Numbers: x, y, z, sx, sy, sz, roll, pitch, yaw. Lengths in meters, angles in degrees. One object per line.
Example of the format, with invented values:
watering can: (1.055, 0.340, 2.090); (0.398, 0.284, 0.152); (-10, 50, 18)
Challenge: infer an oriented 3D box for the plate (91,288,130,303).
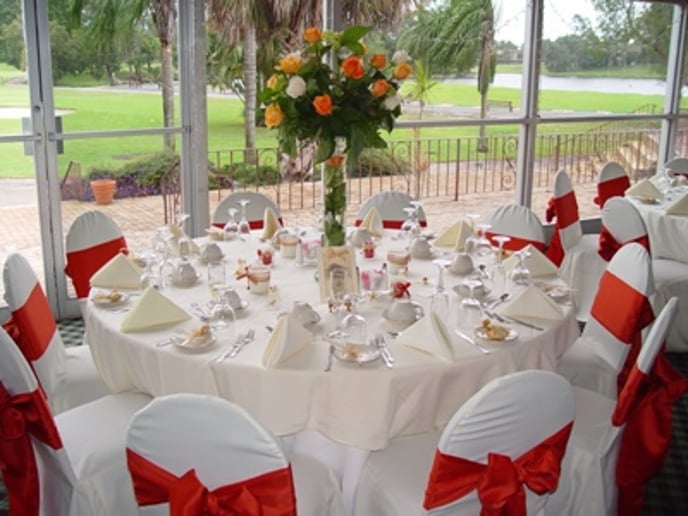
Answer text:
plate: (-1.200, 0.207, 2.461); (0.218, 0.055, 0.144); (4, 11, 26)

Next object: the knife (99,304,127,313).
knife: (-1.103, 0.269, 2.350); (0.042, 0.007, 0.128); (7, 6, -1)

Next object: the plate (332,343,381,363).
plate: (0.042, 0.392, 1.914); (0.198, 0.060, 0.112); (0, 10, 7)

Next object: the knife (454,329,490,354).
knife: (0.530, 0.364, 2.064); (0.036, 0.016, 0.262); (-23, 27, -16)

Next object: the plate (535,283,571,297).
plate: (1.096, 0.181, 2.545); (0.085, 0.024, 0.128); (-2, 16, 1)

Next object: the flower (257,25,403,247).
flower: (-0.040, -0.642, 2.590); (0.792, 1.175, 0.398); (-3, 11, -12)

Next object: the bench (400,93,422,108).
bench: (1.110, -2.544, 7.920); (0.324, 0.217, 0.812); (0, 10, 7)

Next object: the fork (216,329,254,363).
fork: (-0.441, 0.381, 1.991); (0.046, 0.027, 0.195); (-2, 25, 17)
